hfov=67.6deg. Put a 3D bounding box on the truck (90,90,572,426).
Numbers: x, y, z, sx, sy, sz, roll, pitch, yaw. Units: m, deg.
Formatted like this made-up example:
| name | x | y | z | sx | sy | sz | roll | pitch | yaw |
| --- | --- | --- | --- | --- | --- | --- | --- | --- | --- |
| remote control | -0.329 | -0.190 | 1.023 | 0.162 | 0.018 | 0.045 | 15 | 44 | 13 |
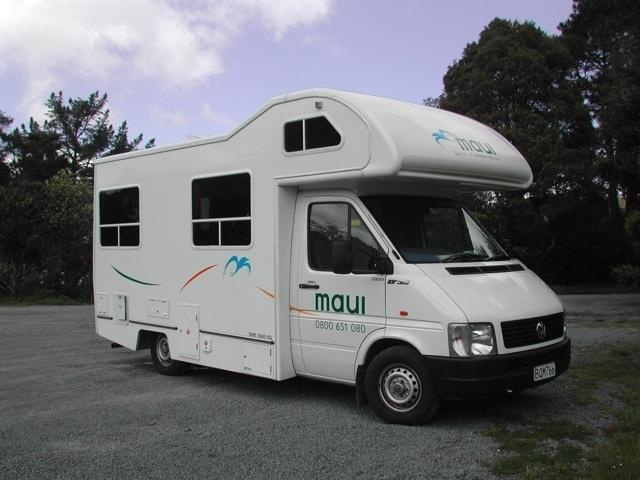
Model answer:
| name | x | y | z | sx | sy | sz | roll | pitch | yaw |
| --- | --- | --- | --- | --- | --- | --- | --- | --- | --- |
| truck | -0.677 | 0.074 | 8.058 | 6.948 | 4.364 | 2.873 | -1 | 6 | 31 |
